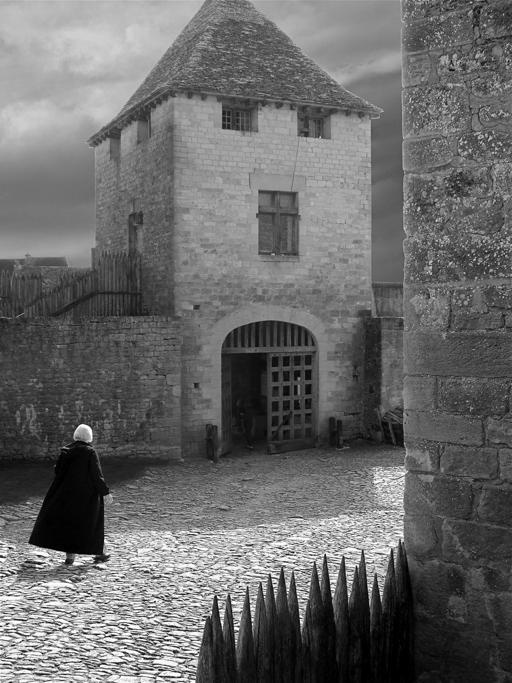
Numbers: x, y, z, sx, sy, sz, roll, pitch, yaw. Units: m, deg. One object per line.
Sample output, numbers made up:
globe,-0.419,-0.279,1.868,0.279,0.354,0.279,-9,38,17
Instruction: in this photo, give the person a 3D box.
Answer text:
person,-1.814,1.547,9.885,0.718,1.213,0.311,5,1,-12
